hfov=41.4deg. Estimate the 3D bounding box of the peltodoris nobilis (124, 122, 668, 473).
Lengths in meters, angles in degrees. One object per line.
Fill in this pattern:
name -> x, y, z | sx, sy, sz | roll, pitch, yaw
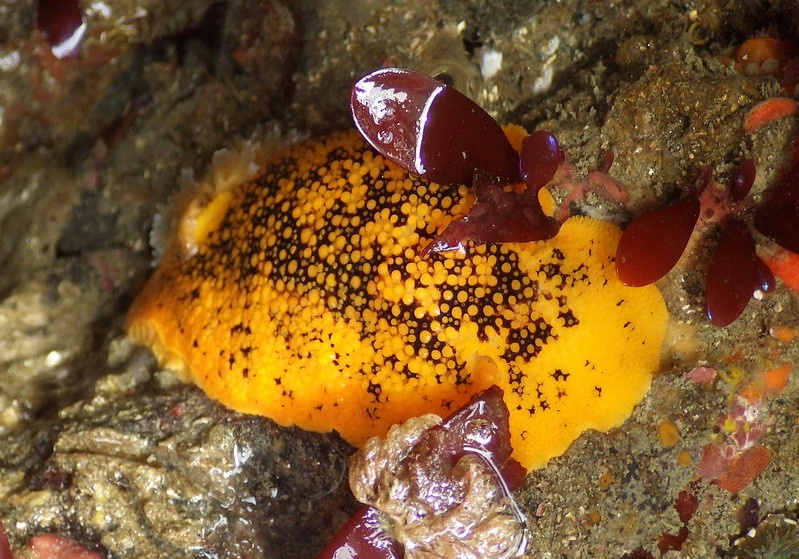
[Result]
peltodoris nobilis -> -0.017, 0.114, 4.236 | 2.058, 0.494, 1.115 | 14, 87, 1
